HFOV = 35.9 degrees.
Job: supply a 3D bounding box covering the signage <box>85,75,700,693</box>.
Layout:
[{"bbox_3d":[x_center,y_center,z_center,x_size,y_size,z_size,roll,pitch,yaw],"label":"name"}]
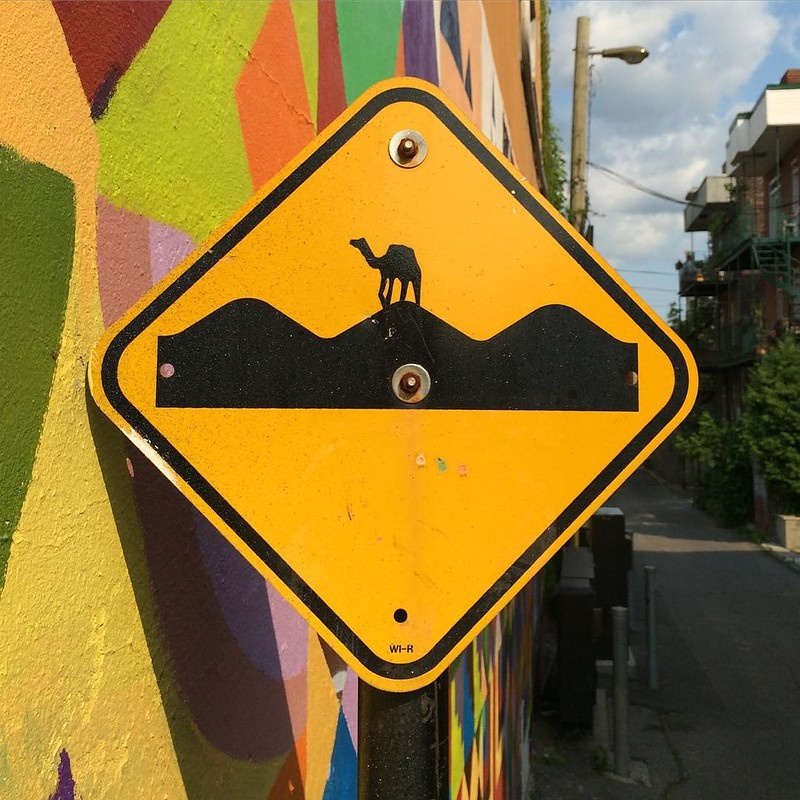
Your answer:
[{"bbox_3d":[-0.012,-0.039,1.901,0.797,0.202,0.766,41,81,14],"label":"signage"}]
